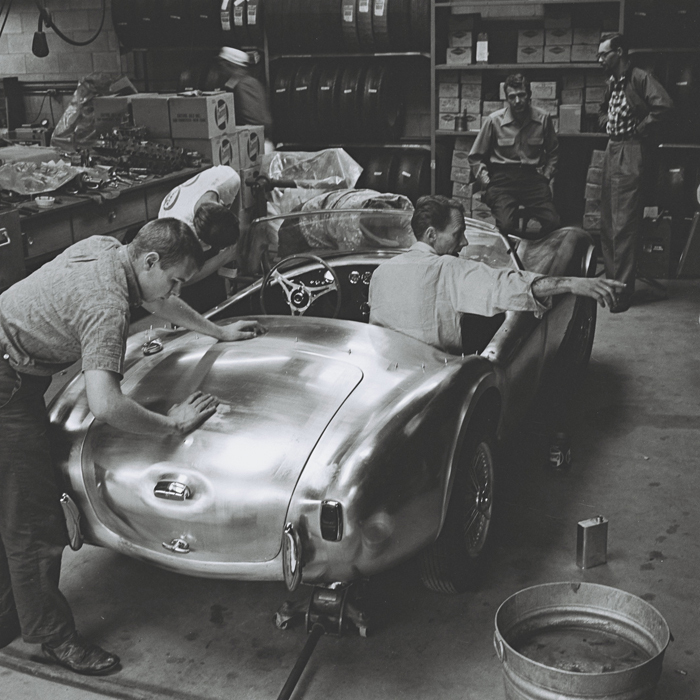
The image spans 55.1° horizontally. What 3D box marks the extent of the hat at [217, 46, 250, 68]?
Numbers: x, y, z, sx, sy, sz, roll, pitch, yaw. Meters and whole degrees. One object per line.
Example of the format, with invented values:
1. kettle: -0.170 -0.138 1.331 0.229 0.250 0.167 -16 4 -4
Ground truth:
1. hat: -1.211 -3.088 7.098 0.305 0.224 0.204 -4 15 -9

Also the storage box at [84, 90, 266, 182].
1. storage box: -1.557 -2.070 6.108 0.917 0.687 0.995 10 25 31

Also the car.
1. car: 0.100 0.090 2.334 1.084 0.725 2.073 11 38 24
